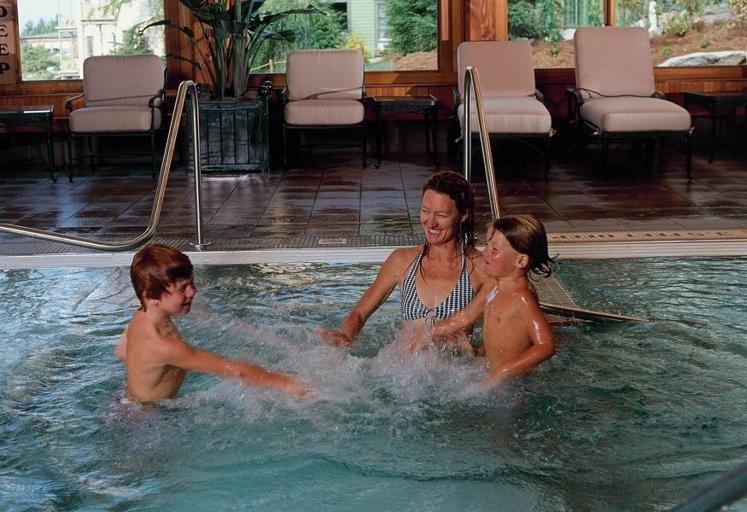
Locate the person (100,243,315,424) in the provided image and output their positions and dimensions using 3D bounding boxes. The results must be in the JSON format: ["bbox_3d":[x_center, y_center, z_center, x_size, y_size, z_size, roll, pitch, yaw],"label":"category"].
[{"bbox_3d":[-0.750,0.328,2.381,0.898,0.750,0.513,4,19,2],"label":"person"}]

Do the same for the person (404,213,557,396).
[{"bbox_3d":[0.344,0.125,2.537,0.905,1.075,0.483,0,18,2],"label":"person"}]

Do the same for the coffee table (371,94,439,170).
[{"bbox_3d":[0.467,-1.854,7.690,1.067,0.805,0.873,1,17,2],"label":"coffee table"}]
